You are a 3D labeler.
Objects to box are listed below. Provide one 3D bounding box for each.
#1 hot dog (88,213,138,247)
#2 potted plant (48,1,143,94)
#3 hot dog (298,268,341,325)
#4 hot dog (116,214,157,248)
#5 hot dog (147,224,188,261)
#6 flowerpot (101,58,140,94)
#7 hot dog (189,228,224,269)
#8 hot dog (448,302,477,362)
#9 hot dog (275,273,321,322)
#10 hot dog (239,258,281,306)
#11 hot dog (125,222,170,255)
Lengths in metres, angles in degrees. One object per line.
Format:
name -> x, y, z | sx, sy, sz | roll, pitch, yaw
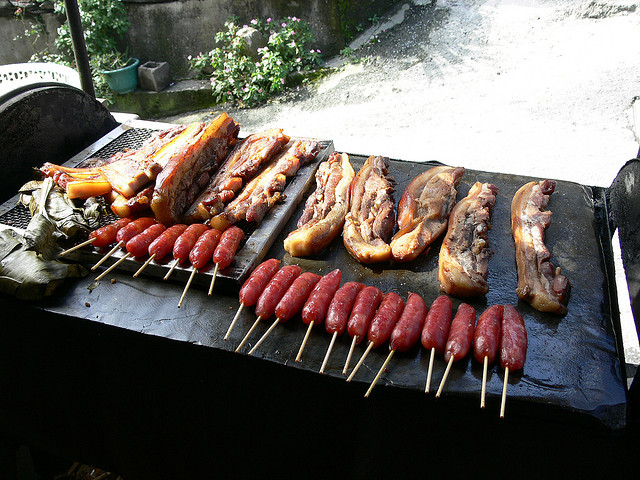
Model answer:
hot dog -> -1.910, -0.082, 5.043 | 0.221, 0.248, 0.555 | -24, 7, 21
potted plant -> -4.585, -3.954, 11.303 | 1.670, 1.844, 1.471 | -13, 31, -2
hot dog -> 0.022, 0.474, 4.565 | 0.172, 0.154, 0.570 | 19, 54, 21
hot dog -> -1.652, -0.097, 5.002 | 0.145, 0.157, 0.454 | 15, 38, 16
hot dog -> -1.338, -0.005, 4.908 | 0.145, 0.153, 0.467 | 24, 45, 11
flowerpot -> -3.997, -3.287, 11.244 | 0.769, 0.553, 0.465 | -24, 33, -17
hot dog -> -1.000, 0.064, 4.847 | 0.191, 0.169, 0.470 | 6, 38, 14
hot dog -> 1.147, 0.716, 4.381 | 0.187, 0.174, 0.600 | -4, 33, 28
hot dog -> -0.194, 0.459, 4.579 | 0.561, 0.168, 0.167 | -50, 13, -30
hot dog -> -0.506, 0.308, 4.685 | 0.176, 0.150, 0.497 | 28, 52, 2
hot dog -> -1.615, -0.070, 5.078 | 0.577, 0.203, 0.194 | 6, 54, 37
